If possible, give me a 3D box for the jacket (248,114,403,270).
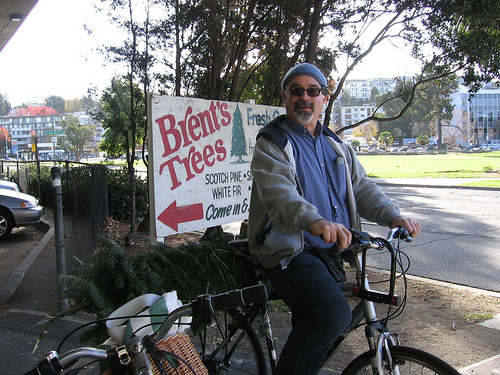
[{"bbox_3d":[0.542,0.033,2.916,1.126,1.101,0.739,-4,8,-33],"label":"jacket"}]
